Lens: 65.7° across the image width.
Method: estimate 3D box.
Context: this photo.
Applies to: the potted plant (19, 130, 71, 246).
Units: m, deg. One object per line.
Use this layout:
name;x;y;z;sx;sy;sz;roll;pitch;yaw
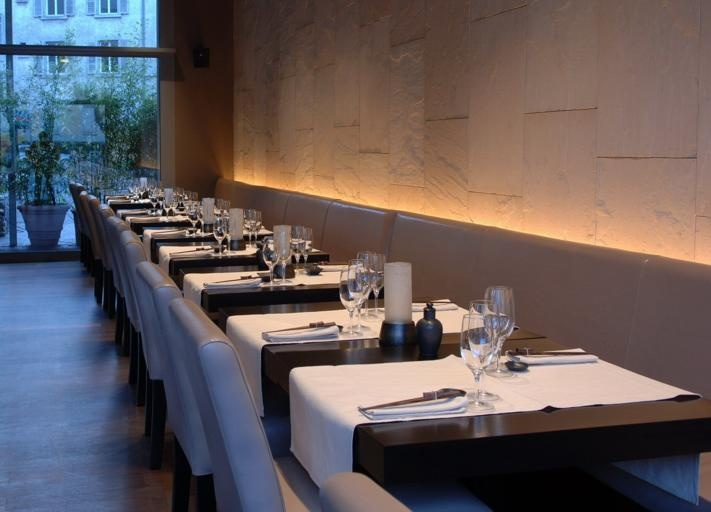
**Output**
potted plant;-5.308;-1.155;9.423;0.758;2.002;0.841;2;8;-10
